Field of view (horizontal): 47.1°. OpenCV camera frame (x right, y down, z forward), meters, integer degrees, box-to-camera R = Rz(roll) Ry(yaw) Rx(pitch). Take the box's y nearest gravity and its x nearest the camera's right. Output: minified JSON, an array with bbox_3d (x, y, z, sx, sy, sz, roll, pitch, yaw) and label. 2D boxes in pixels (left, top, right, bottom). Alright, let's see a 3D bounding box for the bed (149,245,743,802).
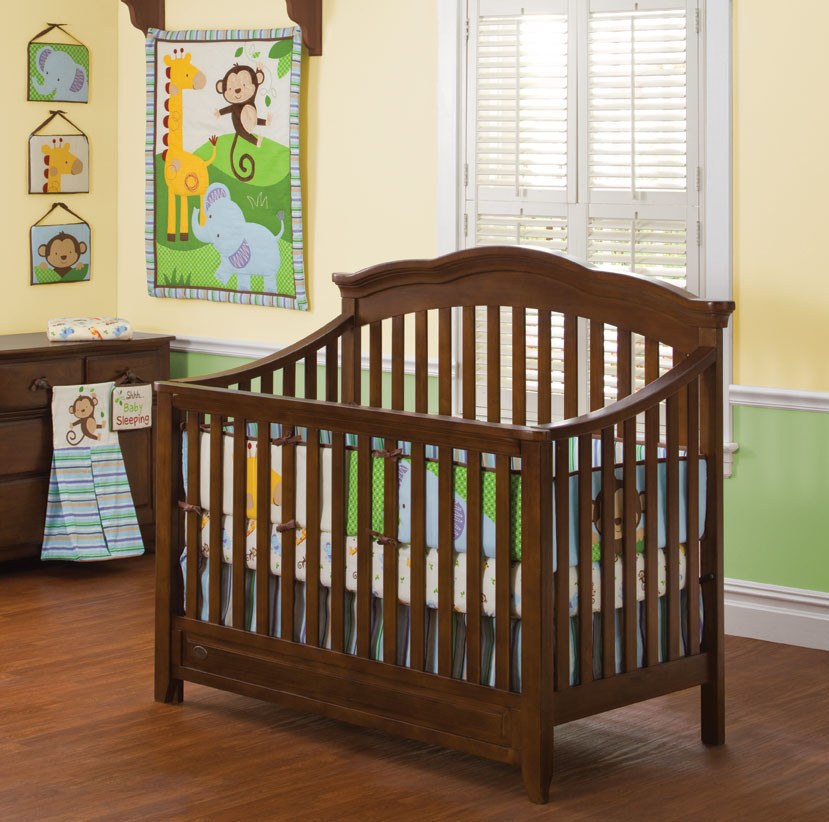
[{"bbox_3d":[0.091,0.146,2.173,1.188,1.086,0.819,2,3,35],"label":"bed"}]
